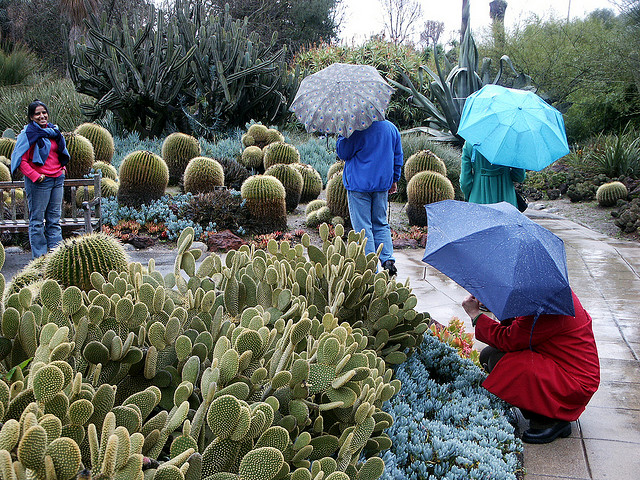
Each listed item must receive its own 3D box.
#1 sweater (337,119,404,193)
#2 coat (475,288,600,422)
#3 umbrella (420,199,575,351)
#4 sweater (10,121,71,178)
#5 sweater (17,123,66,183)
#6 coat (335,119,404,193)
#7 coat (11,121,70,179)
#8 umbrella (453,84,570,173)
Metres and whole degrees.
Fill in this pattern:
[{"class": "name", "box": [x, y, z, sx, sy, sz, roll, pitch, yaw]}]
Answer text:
[{"class": "sweater", "box": [0.562, -0.932, 6.191, 0.767, 0.820, 0.549, 4, 4, -11]}, {"class": "coat", "box": [1.525, 0.735, 4.111, 0.841, 1.068, 0.660, 14, 3, 18]}, {"class": "umbrella", "box": [1.148, 0.132, 3.664, 0.966, 0.720, 0.575, 5, 7, 25]}, {"class": "sweater", "box": [-3.152, -1.015, 6.395, 0.356, 0.671, 0.628, -12, -9, 40]}, {"class": "sweater", "box": [-3.086, -1.084, 6.189, 0.474, 0.228, 0.609, -18, -2, -36]}, {"class": "coat", "box": [0.559, -0.935, 6.177, 0.754, 0.809, 0.539, -1, 10, -16]}, {"class": "coat", "box": [-3.157, -1.032, 6.364, 0.606, 0.582, 0.332, -4, 8, -42]}, {"class": "umbrella", "box": [1.936, -1.049, 5.553, 1.174, 0.440, 1.232, 12, 9, -8]}]
